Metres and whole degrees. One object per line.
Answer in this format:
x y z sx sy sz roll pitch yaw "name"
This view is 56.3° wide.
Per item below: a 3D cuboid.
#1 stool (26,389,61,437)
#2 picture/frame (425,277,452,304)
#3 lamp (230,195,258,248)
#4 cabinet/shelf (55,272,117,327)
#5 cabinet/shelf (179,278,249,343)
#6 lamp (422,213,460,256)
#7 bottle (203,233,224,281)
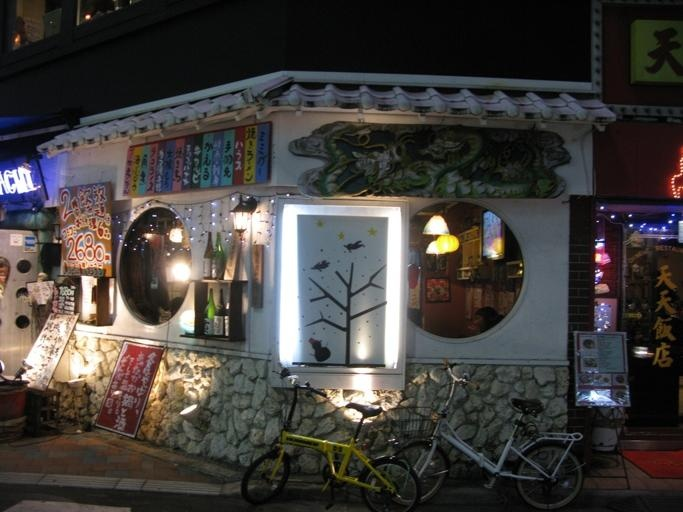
-5.201 2.662 10.929 0.465 0.740 0.800 2 -3 -45 "stool"
1.791 0.658 11.882 0.456 0.453 0.060 2 -12 -9 "picture/frame"
-1.481 -0.575 9.849 0.402 0.704 0.332 -1 14 -8 "lamp"
-4.456 0.782 11.213 0.968 0.713 0.326 1 -1 14 "cabinet/shelf"
-1.984 0.850 10.118 1.095 0.907 0.389 -1 -5 42 "cabinet/shelf"
1.730 -0.366 11.284 0.508 0.836 0.767 -11 10 -39 "lamp"
-2.013 -0.009 10.102 0.437 0.672 0.417 1 14 0 "bottle"
